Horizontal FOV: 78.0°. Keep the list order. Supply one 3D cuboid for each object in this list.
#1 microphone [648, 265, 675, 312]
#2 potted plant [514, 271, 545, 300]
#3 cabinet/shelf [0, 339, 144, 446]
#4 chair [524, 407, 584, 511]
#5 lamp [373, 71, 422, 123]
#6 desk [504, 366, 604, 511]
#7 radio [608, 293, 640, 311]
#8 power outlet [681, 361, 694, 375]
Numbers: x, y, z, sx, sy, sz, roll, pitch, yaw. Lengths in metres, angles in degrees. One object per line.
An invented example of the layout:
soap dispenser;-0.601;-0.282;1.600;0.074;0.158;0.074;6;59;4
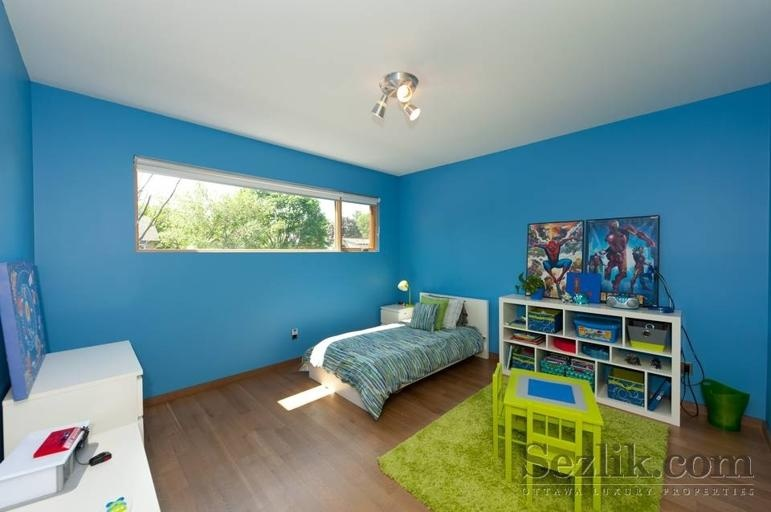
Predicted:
microphone;2.962;0.357;5.109;0.262;0.473;0.217;1;3;29
potted plant;1.775;0.379;5.893;0.305;0.220;0.306;2;1;21
cabinet/shelf;-2.892;1.216;4.494;0.782;0.760;0.824;-1;4;-32
chair;1.491;1.758;4.202;0.468;0.824;0.315;0;2;20
lamp;0.115;-1.548;4.763;0.426;0.430;0.515;0;2;3
desk;1.593;1.490;4.654;0.933;1.139;1.277;1;0;29
radio;2.587;0.506;5.207;0.302;0.140;0.122;1;2;34
power outlet;3.182;1.189;5.029;0.153;0.142;0.081;1;2;-14
